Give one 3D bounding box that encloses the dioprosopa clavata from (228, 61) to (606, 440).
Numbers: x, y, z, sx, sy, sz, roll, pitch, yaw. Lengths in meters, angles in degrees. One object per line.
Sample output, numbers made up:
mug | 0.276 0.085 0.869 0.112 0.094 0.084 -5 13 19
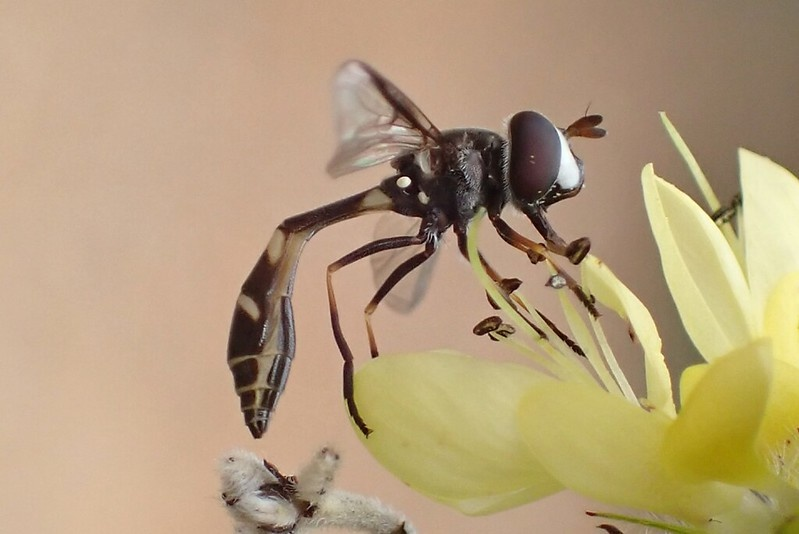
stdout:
dioprosopa clavata | -0.011 -0.072 0.938 0.287 0.202 0.352 -24 -10 0
